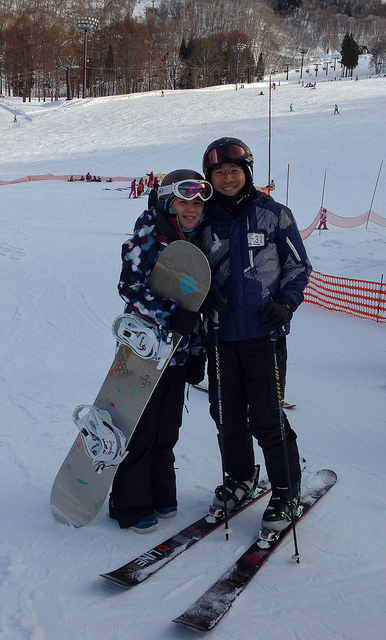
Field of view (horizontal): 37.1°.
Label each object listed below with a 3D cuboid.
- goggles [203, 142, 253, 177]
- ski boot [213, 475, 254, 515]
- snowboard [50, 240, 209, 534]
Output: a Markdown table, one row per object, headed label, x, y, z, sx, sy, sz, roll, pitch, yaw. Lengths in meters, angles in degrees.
| label | x | y | z | sx | sy | sz | roll | pitch | yaw |
| --- | --- | --- | --- | --- | --- | --- | --- | --- | --- |
| goggles | 0.159 | -0.744 | 2.676 | 0.235 | 0.150 | 0.154 | 2 | 11 | 5 |
| ski boot | 0.225 | 0.852 | 2.892 | 0.328 | 0.136 | 0.129 | -12 | 8 | -41 |
| snowboard | -0.355 | 0.531 | 2.764 | 0.428 | 1.814 | 0.274 | 27 | 14 | 21 |
